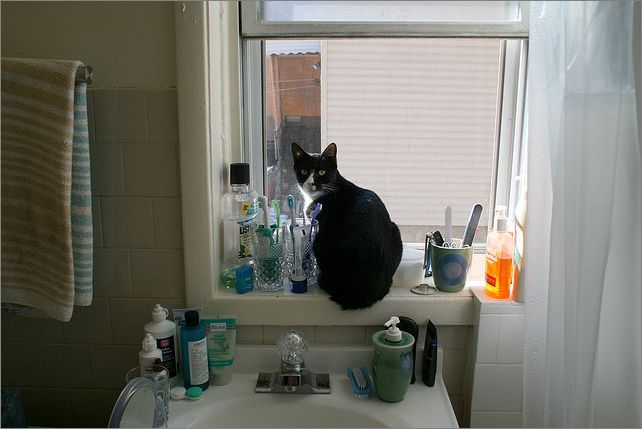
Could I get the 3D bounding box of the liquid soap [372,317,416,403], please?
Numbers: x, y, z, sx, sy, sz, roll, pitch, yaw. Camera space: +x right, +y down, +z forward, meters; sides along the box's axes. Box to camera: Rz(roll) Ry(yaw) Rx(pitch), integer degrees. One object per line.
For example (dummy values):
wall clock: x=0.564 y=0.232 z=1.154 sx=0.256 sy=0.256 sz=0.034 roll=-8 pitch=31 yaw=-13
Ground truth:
liquid soap: x=0.214 y=0.457 z=1.706 sx=0.121 sy=0.263 sz=0.146 roll=2 pitch=6 yaw=18

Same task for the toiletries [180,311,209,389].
toiletries: x=-0.390 y=0.427 z=1.676 sx=0.082 sy=0.262 sz=0.055 roll=-2 pitch=8 yaw=-14

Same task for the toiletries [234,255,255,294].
toiletries: x=-0.253 y=0.203 z=1.792 sx=0.051 sy=0.148 sz=0.094 roll=7 pitch=15 yaw=24

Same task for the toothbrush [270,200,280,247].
toothbrush: x=-0.149 y=0.030 z=1.793 sx=0.023 sy=0.164 sz=0.020 roll=0 pitch=-7 yaw=-12

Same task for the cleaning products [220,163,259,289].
cleaning products: x=-0.282 y=0.038 z=1.850 sx=0.115 sy=0.406 sz=0.163 roll=8 pitch=10 yaw=34

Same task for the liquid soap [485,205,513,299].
liquid soap: x=0.576 y=0.132 z=1.745 sx=0.083 sy=0.286 sz=0.061 roll=1 pitch=8 yaw=10

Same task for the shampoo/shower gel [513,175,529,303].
shampoo/shower gel: x=0.630 y=0.085 z=1.715 sx=0.039 sy=0.305 sz=0.147 roll=-1 pitch=13 yaw=23

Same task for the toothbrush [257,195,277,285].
toothbrush: x=-0.178 y=0.099 z=1.772 sx=0.061 sy=0.312 sz=0.045 roll=-3 pitch=8 yaw=-18

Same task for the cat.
cat: x=0.079 y=0.003 z=1.890 sx=0.411 sy=0.490 sz=0.484 roll=3 pitch=18 yaw=8

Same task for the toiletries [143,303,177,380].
toiletries: x=-0.479 y=0.389 z=1.673 sx=0.087 sy=0.222 sz=0.116 roll=0 pitch=15 yaw=1

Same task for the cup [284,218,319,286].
cup: x=-0.051 y=0.120 z=1.836 sx=0.084 sy=0.237 sz=0.135 roll=1 pitch=8 yaw=4

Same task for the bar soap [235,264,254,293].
bar soap: x=-0.252 y=0.215 z=1.781 sx=0.032 sy=0.094 sz=0.066 roll=8 pitch=17 yaw=36

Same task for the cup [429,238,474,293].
cup: x=0.424 y=0.176 z=1.849 sx=0.147 sy=0.169 sz=0.149 roll=0 pitch=5 yaw=0

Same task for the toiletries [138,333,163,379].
toiletries: x=-0.506 y=0.434 z=1.620 sx=0.059 sy=0.146 sz=0.059 roll=-4 pitch=14 yaw=-20

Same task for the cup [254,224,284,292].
cup: x=-0.173 y=0.147 z=1.822 sx=0.118 sy=0.198 sz=0.113 roll=-1 pitch=3 yaw=0

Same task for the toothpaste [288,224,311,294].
toothpaste: x=-0.078 y=0.155 z=1.794 sx=0.069 sy=0.225 sz=0.067 roll=5 pitch=8 yaw=38
